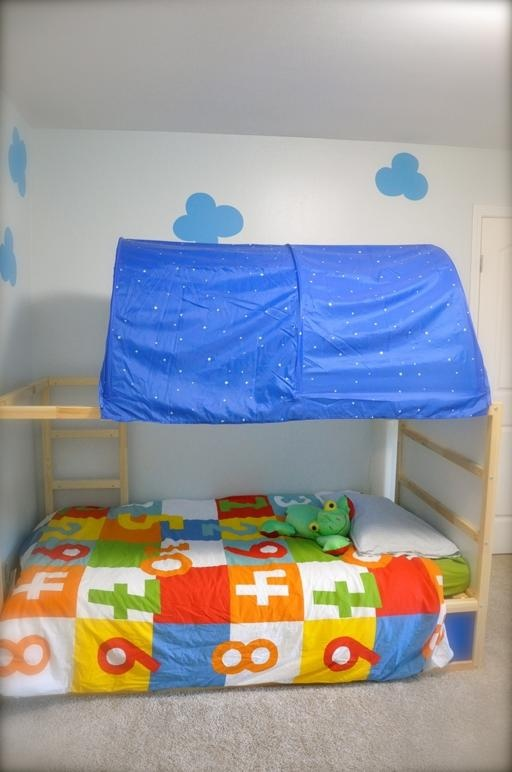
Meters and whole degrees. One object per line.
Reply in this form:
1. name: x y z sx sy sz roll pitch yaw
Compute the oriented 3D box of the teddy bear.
1. teddy bear: 0.247 0.621 2.773 0.239 0.093 0.260 5 7 22
